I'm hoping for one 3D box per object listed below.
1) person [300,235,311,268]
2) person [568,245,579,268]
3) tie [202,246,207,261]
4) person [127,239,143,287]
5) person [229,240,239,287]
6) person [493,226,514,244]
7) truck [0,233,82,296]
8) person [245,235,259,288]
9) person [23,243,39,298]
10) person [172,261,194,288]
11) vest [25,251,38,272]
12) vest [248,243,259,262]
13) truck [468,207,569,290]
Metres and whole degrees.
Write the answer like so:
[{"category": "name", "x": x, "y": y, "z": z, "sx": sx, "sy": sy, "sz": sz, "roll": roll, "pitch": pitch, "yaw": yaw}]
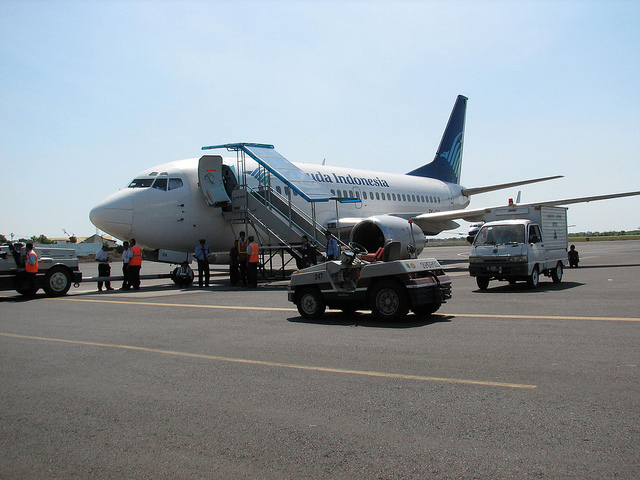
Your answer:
[{"category": "person", "x": -0.526, "y": 0.437, "z": 17.889, "sx": 0.376, "sy": 1.230, "sz": 1.035, "roll": -2, "pitch": 1, "yaw": -4}, {"category": "person", "x": 13.117, "y": 0.810, "z": 24.804, "sx": 0.474, "sy": 1.065, "sz": 2.354, "roll": -1, "pitch": 2, "yaw": 27}, {"category": "tie", "x": -4.485, "y": 0.546, "z": 18.720, "sx": 0.022, "sy": 0.496, "sz": 0.157, "roll": 0, "pitch": 2, "yaw": 30}, {"category": "person", "x": -6.862, "y": 0.876, "z": 17.840, "sx": 0.468, "sy": 1.781, "sz": 0.873, "roll": -2, "pitch": 2, "yaw": -23}, {"category": "person", "x": -3.380, "y": 1.038, "z": 19.145, "sx": 0.303, "sy": 1.519, "sz": 0.532, "roll": -2, "pitch": 2, "yaw": -10}, {"category": "person", "x": 6.231, "y": -0.190, "z": 16.301, "sx": 0.763, "sy": 0.549, "sz": 0.480, "roll": 0, "pitch": 2, "yaw": 38}, {"category": "truck", "x": -9.311, "y": 0.980, "z": 15.979, "sx": 3.107, "sy": 1.928, "sz": 2.350, "roll": -2, "pitch": 1, "yaw": -26}, {"category": "person", "x": -2.497, "y": 0.830, "z": 18.000, "sx": 0.421, "sy": 1.880, "sz": 0.789, "roll": -2, "pitch": 2, "yaw": -12}, {"category": "person", "x": -9.428, "y": 1.010, "z": 15.727, "sx": 0.424, "sy": 1.811, "sz": 1.315, "roll": -2, "pitch": 2, "yaw": -32}, {"category": "person", "x": -5.423, "y": 1.350, "z": 19.146, "sx": 0.731, "sy": 0.974, "sz": 0.683, "roll": -2, "pitch": 2, "yaw": -18}, {"category": "vest", "x": -9.201, "y": 0.706, "z": 15.378, "sx": 0.320, "sy": 0.686, "sz": 0.487, "roll": -2, "pitch": 2, "yaw": -32}, {"category": "vest", "x": -2.411, "y": 0.471, "z": 17.750, "sx": 0.362, "sy": 0.699, "sz": 0.277, "roll": -2, "pitch": 2, "yaw": -18}, {"category": "truck", "x": 6.851, "y": 0.275, "z": 17.211, "sx": 2.534, "sy": 2.842, "sz": 4.612, "roll": -5, "pitch": -7, "yaw": 36}]
